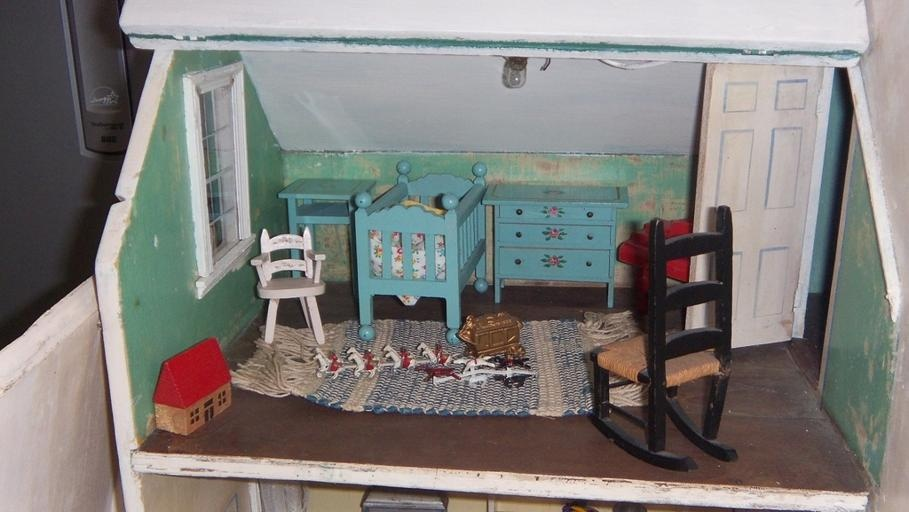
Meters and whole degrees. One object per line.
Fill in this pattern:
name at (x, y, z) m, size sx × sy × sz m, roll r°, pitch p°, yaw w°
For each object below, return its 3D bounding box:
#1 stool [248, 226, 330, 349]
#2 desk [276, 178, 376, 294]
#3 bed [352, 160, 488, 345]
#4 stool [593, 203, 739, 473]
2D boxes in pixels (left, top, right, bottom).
stool at (-1.299, 0.234, 5.900) m, size 0.582 × 0.800 × 0.415 m, roll -2°, pitch 14°, yaw -13°
desk at (-1.205, -0.091, 6.743) m, size 0.857 × 1.114 × 1.160 m, roll 2°, pitch 17°, yaw 9°
bed at (-0.250, -0.086, 6.614) m, size 0.972 × 1.235 × 1.446 m, roll 2°, pitch 16°, yaw 10°
stool at (1.438, 0.468, 5.001) m, size 0.917 × 1.623 × 0.941 m, roll 2°, pitch 15°, yaw 25°
